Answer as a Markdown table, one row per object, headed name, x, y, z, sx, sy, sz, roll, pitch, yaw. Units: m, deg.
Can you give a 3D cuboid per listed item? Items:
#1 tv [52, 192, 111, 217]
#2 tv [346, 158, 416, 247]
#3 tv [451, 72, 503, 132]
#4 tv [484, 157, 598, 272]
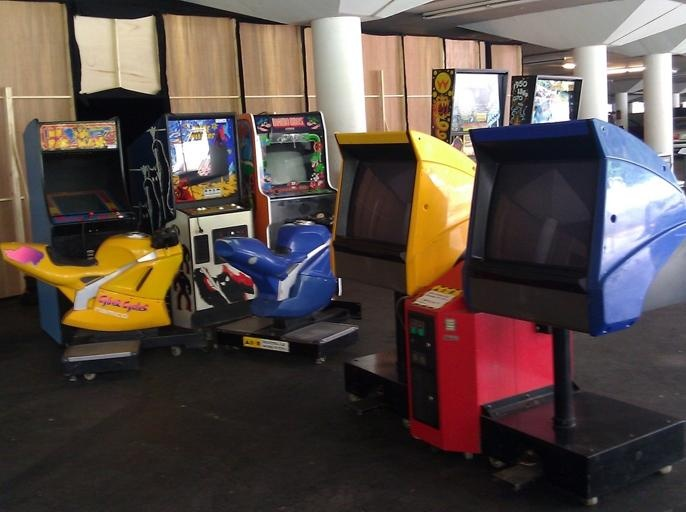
| name | x | y | z | sx | sy | sz | roll | pitch | yaw |
| --- | --- | --- | --- | --- | --- | --- | --- | --- | --- |
| tv | -2.468 | -0.493 | 5.208 | 0.460 | 0.248 | 0.098 | 3 | -10 | -23 |
| tv | 0.231 | -0.309 | 3.238 | 0.614 | 0.472 | 0.064 | 12 | 6 | 44 |
| tv | 1.572 | -1.780 | 6.466 | 1.048 | 0.684 | 0.114 | -16 | 18 | -42 |
| tv | 0.892 | -0.179 | 2.502 | 0.222 | 0.476 | 0.653 | 5 | 1 | -41 |
